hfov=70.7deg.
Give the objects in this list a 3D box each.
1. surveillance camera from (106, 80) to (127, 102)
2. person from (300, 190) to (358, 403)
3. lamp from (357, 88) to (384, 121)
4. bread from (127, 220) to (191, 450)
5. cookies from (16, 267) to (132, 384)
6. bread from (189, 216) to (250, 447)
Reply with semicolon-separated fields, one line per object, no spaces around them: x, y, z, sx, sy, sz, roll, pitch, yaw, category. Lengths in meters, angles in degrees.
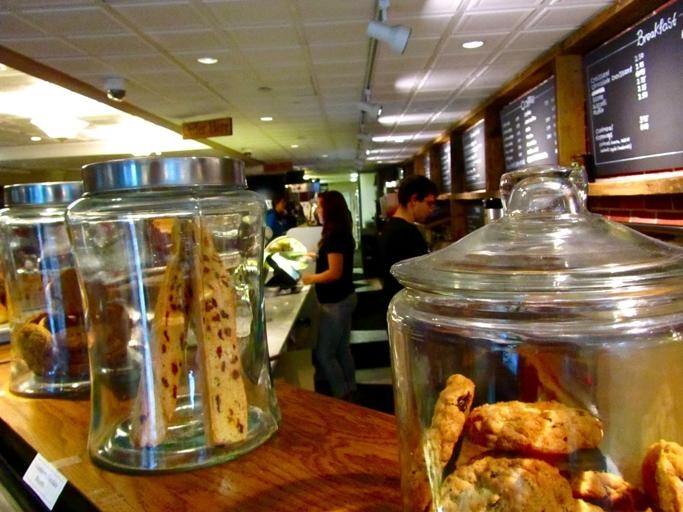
-2.044;-1.494;4.369;0.165;0.165;0.184;-10;13;-33;surveillance camera
-0.091;0.366;4.175;0.434;1.833;0.772;-2;10;2;person
0.344;-1.798;5.652;0.289;0.159;0.498;7;2;5;lamp
-0.281;0.120;0.753;0.072;0.353;0.088;3;12;30;bread
-0.523;0.142;0.951;0.214;0.218;0.235;-9;-14;-2;cookies
-0.192;0.120;0.754;0.063;0.357;0.067;-6;11;-16;bread
